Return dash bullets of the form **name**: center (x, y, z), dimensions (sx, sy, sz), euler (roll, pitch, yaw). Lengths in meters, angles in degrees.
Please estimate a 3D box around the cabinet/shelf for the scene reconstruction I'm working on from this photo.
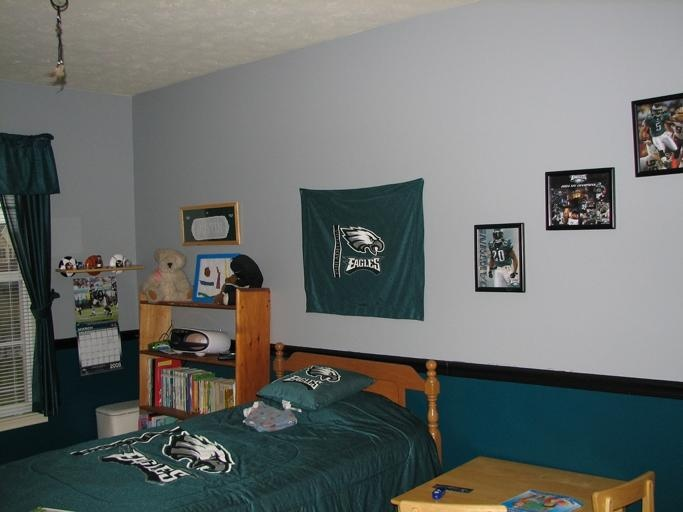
- **cabinet/shelf**: center (-1.130, 0.827, 4.295), dimensions (1.171, 1.156, 0.466), euler (1, 1, 32)

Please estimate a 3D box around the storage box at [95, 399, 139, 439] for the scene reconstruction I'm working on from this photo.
- **storage box**: center (-2.077, 1.583, 4.797), dimensions (0.228, 0.372, 0.384), euler (5, -5, 20)

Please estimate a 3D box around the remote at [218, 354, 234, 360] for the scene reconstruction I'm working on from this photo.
- **remote**: center (-0.929, 0.825, 4.220), dimensions (0.056, 0.023, 0.077), euler (3, -1, 12)

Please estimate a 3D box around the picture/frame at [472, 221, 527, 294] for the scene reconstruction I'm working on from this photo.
- **picture/frame**: center (1.027, 0.010, 3.324), dimensions (0.452, 0.643, 0.061), euler (1, 2, 35)

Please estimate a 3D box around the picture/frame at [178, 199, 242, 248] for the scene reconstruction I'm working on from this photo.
- **picture/frame**: center (-1.202, -0.280, 4.746), dimensions (0.763, 0.377, 0.046), euler (-1, 3, 34)

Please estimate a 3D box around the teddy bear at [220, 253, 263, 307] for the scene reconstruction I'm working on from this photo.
- **teddy bear**: center (-0.805, 0.236, 4.297), dimensions (0.367, 0.509, 0.417), euler (2, -8, -13)

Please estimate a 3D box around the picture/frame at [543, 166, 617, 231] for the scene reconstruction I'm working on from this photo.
- **picture/frame**: center (1.435, -0.340, 3.082), dimensions (0.394, 0.387, 0.039), euler (0, 3, 31)

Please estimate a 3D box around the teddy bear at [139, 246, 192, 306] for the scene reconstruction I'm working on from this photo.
- **teddy bear**: center (-1.566, 0.176, 4.672), dimensions (0.428, 0.483, 0.348), euler (5, 6, -29)
